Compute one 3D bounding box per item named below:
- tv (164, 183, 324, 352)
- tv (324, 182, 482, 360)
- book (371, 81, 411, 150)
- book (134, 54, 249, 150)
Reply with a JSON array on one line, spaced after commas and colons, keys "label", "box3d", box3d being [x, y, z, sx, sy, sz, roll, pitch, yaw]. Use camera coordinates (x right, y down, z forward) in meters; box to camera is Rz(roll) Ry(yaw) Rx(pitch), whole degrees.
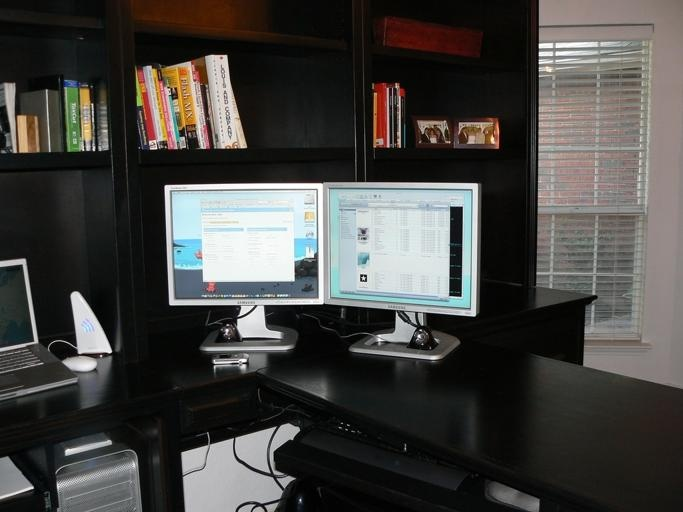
[{"label": "tv", "box3d": [-0.348, 0.024, 2.153, 0.658, 0.685, 0.255, 0, 5, -1]}, {"label": "tv", "box3d": [0.206, 0.035, 2.059, 0.633, 0.624, 0.333, 2, 4, 24]}, {"label": "book", "box3d": [0.212, -0.643, 2.712, 0.206, 0.279, 0.083, -12, 16, -42]}, {"label": "book", "box3d": [-0.579, -0.582, 2.236, 0.406, 0.345, 0.154, -13, 17, -43]}]
